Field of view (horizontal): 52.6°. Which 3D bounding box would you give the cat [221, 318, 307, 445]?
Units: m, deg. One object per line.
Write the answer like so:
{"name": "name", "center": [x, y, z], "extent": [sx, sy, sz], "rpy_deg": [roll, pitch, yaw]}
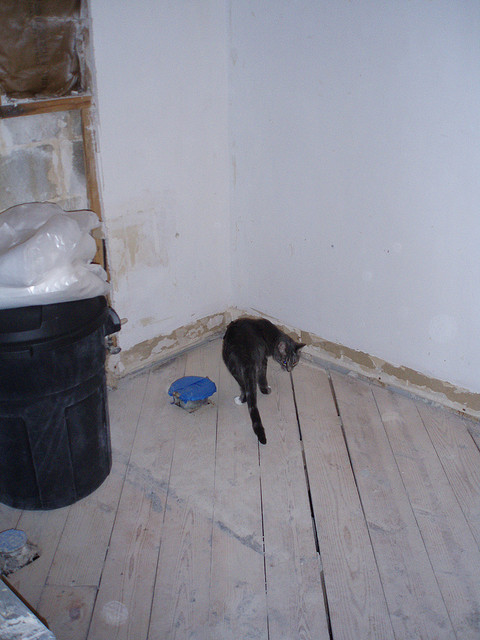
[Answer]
{"name": "cat", "center": [0.119, 0.252, 2.207], "extent": [0.322, 0.347, 0.532], "rpy_deg": [-6, 26, -22]}
